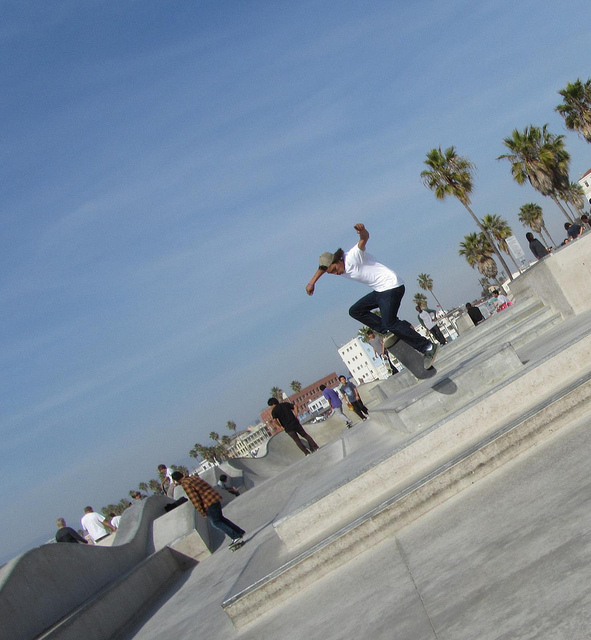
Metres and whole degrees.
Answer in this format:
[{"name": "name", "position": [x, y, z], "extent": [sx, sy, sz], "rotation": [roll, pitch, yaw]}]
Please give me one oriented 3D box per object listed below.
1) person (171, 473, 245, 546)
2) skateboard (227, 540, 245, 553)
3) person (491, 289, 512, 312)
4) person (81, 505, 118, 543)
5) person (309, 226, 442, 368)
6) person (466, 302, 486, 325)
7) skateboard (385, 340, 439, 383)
[{"name": "person", "position": [-1.168, 2.478, 7.543], "extent": [0.405, 1.091, 0.432], "rotation": [-31, -4, -18]}, {"name": "skateboard", "position": [-0.819, 3.012, 7.448], "extent": [0.214, 0.079, 0.173], "rotation": [-18, -16, 23]}, {"name": "person", "position": [7.337, -0.704, 20.302], "extent": [0.375, 0.384, 1.151], "rotation": [-21, 12, -8]}, {"name": "person", "position": [-3.904, 3.930, 10.956], "extent": [0.387, 0.717, 0.541], "rotation": [-31, -5, -27]}, {"name": "person", "position": [0.669, -0.201, 5.874], "extent": [1.059, 1.646, 0.804], "rotation": [-14, 16, 36]}, {"name": "person", "position": [6.568, -0.235, 20.813], "extent": [0.243, 0.841, 0.901], "rotation": [-25, 2, -10]}, {"name": "skateboard", "position": [1.241, 0.396, 6.048], "extent": [0.321, 0.600, 0.119], "rotation": [-42, 13, 17]}]
